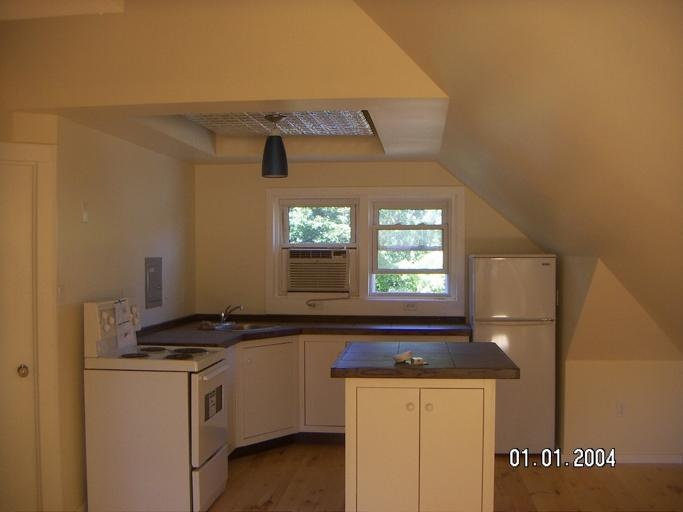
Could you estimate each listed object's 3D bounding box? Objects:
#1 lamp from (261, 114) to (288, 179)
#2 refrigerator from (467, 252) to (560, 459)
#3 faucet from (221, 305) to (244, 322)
[{"bbox_3d":[-0.506,-0.835,4.558,0.166,0.484,0.630,0,8,-6],"label":"lamp"},{"bbox_3d":[1.434,0.823,5.084,0.676,1.647,0.239,1,7,3],"label":"refrigerator"},{"bbox_3d":[-1.027,0.535,5.648,0.218,0.171,0.333,-1,8,-10],"label":"faucet"}]
